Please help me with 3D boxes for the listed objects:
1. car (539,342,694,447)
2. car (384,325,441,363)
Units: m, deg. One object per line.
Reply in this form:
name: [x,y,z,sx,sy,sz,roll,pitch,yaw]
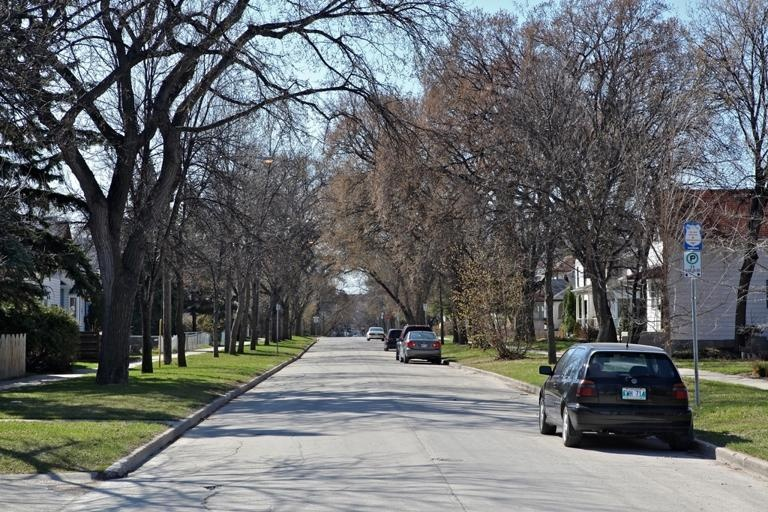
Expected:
car: [5.314,3.199,18.285,3.313,2.485,1.746,-4,-11,23]
car: [2.064,5.205,47.264,2.144,2.514,3.117,2,-11,-9]
